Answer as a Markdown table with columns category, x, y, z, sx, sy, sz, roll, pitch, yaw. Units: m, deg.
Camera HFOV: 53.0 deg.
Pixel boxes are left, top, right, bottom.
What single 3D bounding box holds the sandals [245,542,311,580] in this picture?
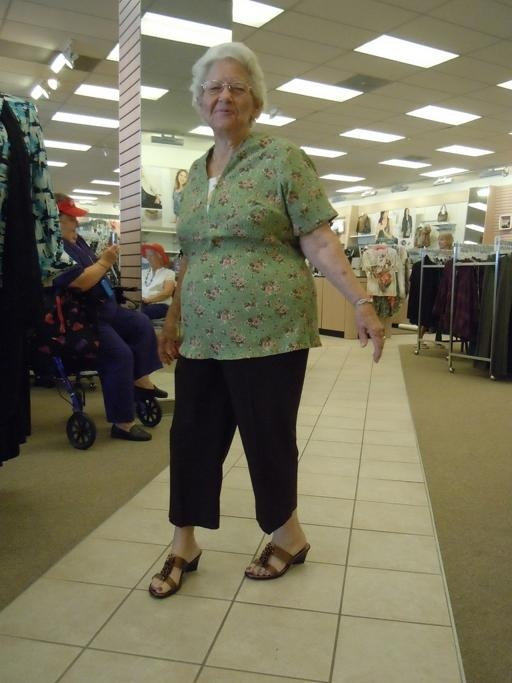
| category | x | y | z | sx | sy | sz | roll | pitch | yaw |
| --- | --- | --- | --- | --- | --- | --- | --- | --- | --- |
| sandals | 0.066 | 0.642 | 1.489 | 0.195 | 0.068 | 0.075 | 4 | -13 | -44 |

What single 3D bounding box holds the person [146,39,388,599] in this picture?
| category | x | y | z | sx | sy | sz | roll | pitch | yaw |
| --- | --- | --- | --- | --- | --- | --- | --- | --- | --- |
| person | 0.017 | -0.030 | 1.339 | 0.559 | 1.436 | 0.232 | 2 | 6 | 10 |

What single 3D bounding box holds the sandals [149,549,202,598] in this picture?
| category | x | y | z | sx | sy | sz | roll | pitch | yaw |
| --- | --- | --- | --- | --- | --- | --- | --- | --- | --- |
| sandals | -0.222 | 0.646 | 1.440 | 0.061 | 0.064 | 0.165 | -1 | -3 | 27 |

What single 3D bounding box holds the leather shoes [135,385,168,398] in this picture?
| category | x | y | z | sx | sy | sz | roll | pitch | yaw |
| --- | --- | --- | --- | --- | --- | --- | --- | --- | --- |
| leather shoes | -0.690 | 0.336 | 3.401 | 0.212 | 0.061 | 0.068 | 7 | 0 | -4 |

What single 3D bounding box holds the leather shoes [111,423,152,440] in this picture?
| category | x | y | z | sx | sy | sz | roll | pitch | yaw |
| --- | --- | --- | --- | --- | --- | --- | --- | --- | --- |
| leather shoes | -0.740 | 0.540 | 3.080 | 0.213 | 0.073 | 0.103 | -1 | -2 | 12 |

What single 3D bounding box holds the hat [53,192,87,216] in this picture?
| category | x | y | z | sx | sy | sz | roll | pitch | yaw |
| --- | --- | --- | --- | --- | --- | --- | --- | --- | --- |
| hat | -1.122 | -0.823 | 3.088 | 0.147 | 0.171 | 0.411 | -2 | 7 | -23 |

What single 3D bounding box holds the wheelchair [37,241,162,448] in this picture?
| category | x | y | z | sx | sy | sz | roll | pitch | yaw |
| --- | --- | --- | --- | --- | --- | --- | --- | --- | --- |
| wheelchair | -0.908 | -0.111 | 3.064 | 0.692 | 1.286 | 0.550 | 4 | 16 | 15 |

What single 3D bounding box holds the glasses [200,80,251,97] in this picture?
| category | x | y | z | sx | sy | sz | roll | pitch | yaw |
| --- | --- | --- | --- | --- | --- | --- | --- | --- | --- |
| glasses | -0.073 | -0.624 | 1.265 | 0.112 | 0.037 | 0.046 | 1 | 6 | -2 |

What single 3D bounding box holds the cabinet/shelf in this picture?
| category | x | y | z | sx | sy | sz | roll | pitch | yaw |
| --- | --- | --- | --- | --- | --- | --- | --- | --- | --- |
| cabinet/shelf | 1.925 | -0.704 | 10.094 | 2.042 | 1.131 | 2.154 | 1 | 10 | 16 |
